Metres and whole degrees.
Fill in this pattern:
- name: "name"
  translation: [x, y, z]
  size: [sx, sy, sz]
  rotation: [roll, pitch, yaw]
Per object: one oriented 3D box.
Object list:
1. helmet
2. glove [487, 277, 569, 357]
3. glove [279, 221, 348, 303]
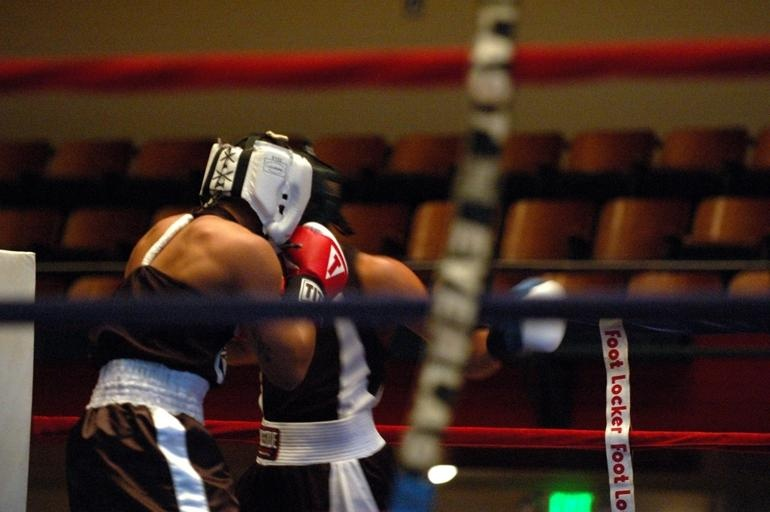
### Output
- name: "helmet"
  translation: [-0.420, -0.279, 4.078]
  size: [0.564, 0.371, 0.438]
  rotation: [19, -6, 36]
- name: "glove"
  translation: [0.552, 0.256, 3.843]
  size: [0.376, 0.312, 0.259]
  rotation: [0, 1, -3]
- name: "glove"
  translation: [-0.280, 0.023, 3.918]
  size: [0.331, 0.284, 0.223]
  rotation: [4, -7, -7]
